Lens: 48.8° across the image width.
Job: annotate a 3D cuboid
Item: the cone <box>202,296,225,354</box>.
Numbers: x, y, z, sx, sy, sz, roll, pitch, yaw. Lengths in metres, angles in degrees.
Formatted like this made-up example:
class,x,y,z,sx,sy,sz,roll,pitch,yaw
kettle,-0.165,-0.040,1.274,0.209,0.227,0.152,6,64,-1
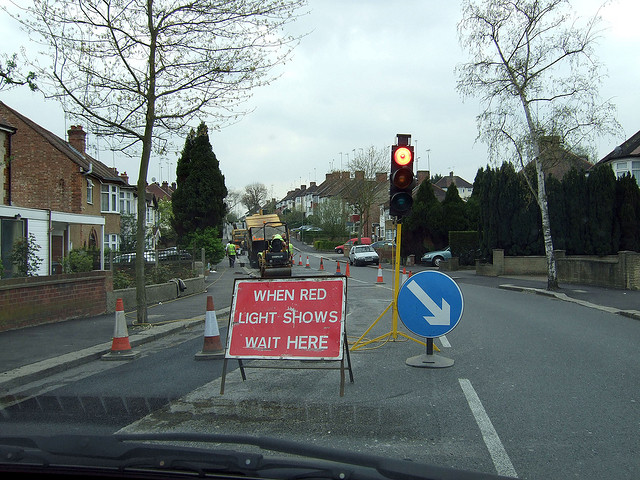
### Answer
class,x,y,z,sx,sy,sz,roll,pitch,yaw
cone,-2.078,1.607,13.656,0.377,1.098,0.898,-1,4,-8

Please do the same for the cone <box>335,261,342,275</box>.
class,x,y,z,sx,sy,sz,roll,pitch,yaw
cone,0.825,1.298,31.976,0.420,0.693,0.466,2,0,-1

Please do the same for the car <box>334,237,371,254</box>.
class,x,y,z,sx,sy,sz,roll,pitch,yaw
car,3.039,0.753,71.049,2.793,1.675,1.799,3,4,17

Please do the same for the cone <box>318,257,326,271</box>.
class,x,y,z,sx,sy,sz,roll,pitch,yaw
cone,0.101,1.429,39.720,0.427,0.723,0.455,0,1,5

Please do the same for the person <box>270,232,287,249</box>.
class,x,y,z,sx,sy,sz,roll,pitch,yaw
person,-1.943,-0.056,35.611,0.600,1.050,0.345,-1,8,4

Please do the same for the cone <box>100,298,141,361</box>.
class,x,y,z,sx,sy,sz,roll,pitch,yaw
cone,-3.892,1.746,13.873,0.779,1.145,0.623,0,4,10

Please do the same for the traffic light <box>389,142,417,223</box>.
class,x,y,z,sx,sy,sz,roll,pitch,yaw
traffic light,1.592,-1.198,13.672,0.439,1.513,0.354,2,15,10

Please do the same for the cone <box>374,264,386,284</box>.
class,x,y,z,sx,sy,sz,roll,pitch,yaw
cone,2.614,1.492,29.681,0.523,0.828,0.580,0,-6,-3

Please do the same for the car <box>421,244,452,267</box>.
class,x,y,z,sx,sy,sz,roll,pitch,yaw
car,7.362,0.950,44.367,2.010,0.898,0.955,2,-3,-3

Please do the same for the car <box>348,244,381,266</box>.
class,x,y,z,sx,sy,sz,roll,pitch,yaw
car,2.972,1.068,46.661,1.506,1.270,2.556,-1,4,-7

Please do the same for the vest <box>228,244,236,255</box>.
class,x,y,z,sx,sy,sz,roll,pitch,yaw
vest,-5.795,0.622,46.279,0.626,0.984,0.526,1,5,-3

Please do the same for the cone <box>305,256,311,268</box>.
class,x,y,z,sx,sy,sz,roll,pitch,yaw
cone,-0.816,1.579,46.931,0.433,0.685,0.459,-1,3,-19

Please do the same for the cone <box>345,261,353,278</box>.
class,x,y,z,sx,sy,sz,roll,pitch,yaw
cone,1.150,1.219,29.376,0.493,0.672,0.552,-1,-4,13
